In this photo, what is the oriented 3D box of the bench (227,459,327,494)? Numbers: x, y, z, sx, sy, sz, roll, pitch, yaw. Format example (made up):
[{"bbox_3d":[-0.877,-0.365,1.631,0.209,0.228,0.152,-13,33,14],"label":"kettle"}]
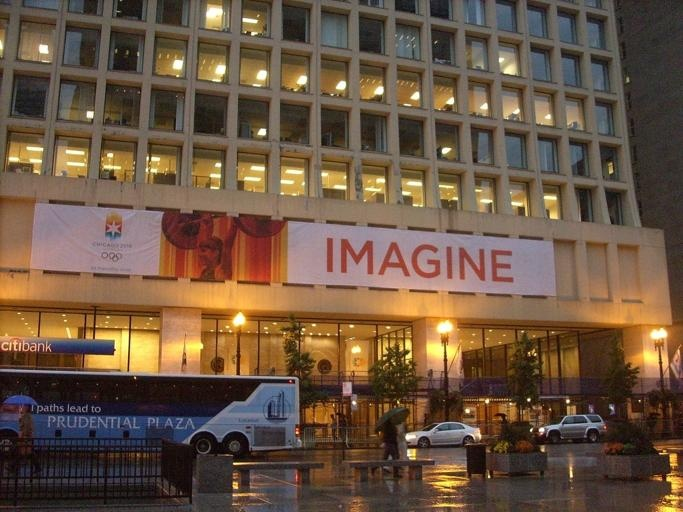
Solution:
[{"bbox_3d":[-2.621,8.964,31.950,3.510,0.885,3.041,2,-13,-16],"label":"bench"}]

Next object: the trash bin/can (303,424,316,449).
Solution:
[{"bbox_3d":[-2.261,11.952,51.467,0.797,1.412,1.660,0,-12,-6],"label":"trash bin/can"}]

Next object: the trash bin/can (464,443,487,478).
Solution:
[{"bbox_3d":[5.799,8.917,33.798,0.865,1.244,0.999,2,-13,0],"label":"trash bin/can"}]

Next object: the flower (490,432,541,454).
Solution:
[{"bbox_3d":[7.489,8.109,33.465,1.331,0.731,1.128,2,-7,-14],"label":"flower"}]

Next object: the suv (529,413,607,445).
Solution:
[{"bbox_3d":[15.382,11.870,53.182,4.279,1.827,2.041,3,-12,-9],"label":"suv"}]
